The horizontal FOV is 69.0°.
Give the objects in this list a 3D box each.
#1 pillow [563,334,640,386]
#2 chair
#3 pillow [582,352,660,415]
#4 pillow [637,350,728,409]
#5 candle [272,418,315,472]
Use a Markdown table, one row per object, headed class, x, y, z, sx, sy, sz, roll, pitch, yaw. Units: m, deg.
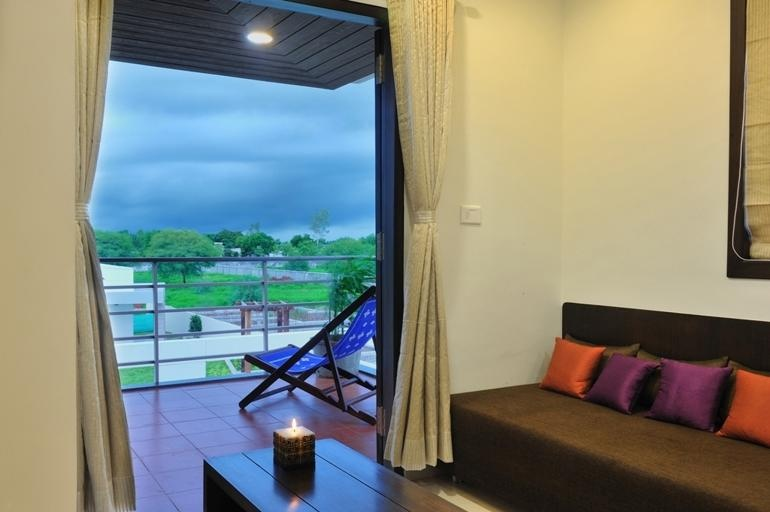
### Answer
| class | x | y | z | sx | sy | sz | roll | pitch | yaw |
| --- | --- | --- | --- | --- | --- | --- | --- | --- | --- |
| pillow | 1.122 | 0.546 | 2.882 | 0.220 | 0.222 | 0.067 | -2 | -17 | 45 |
| chair | -0.443 | 0.723 | 4.385 | 1.265 | 0.916 | 0.787 | 0 | -1 | 19 |
| pillow | 1.131 | 0.599 | 2.687 | 0.078 | 0.247 | 0.260 | 37 | -10 | -23 |
| pillow | 1.325 | 0.582 | 2.648 | 0.082 | 0.278 | 0.276 | 8 | -7 | -34 |
| candle | -0.348 | 0.714 | 2.184 | 0.156 | 0.208 | 0.155 | -2 | 5 | -19 |
